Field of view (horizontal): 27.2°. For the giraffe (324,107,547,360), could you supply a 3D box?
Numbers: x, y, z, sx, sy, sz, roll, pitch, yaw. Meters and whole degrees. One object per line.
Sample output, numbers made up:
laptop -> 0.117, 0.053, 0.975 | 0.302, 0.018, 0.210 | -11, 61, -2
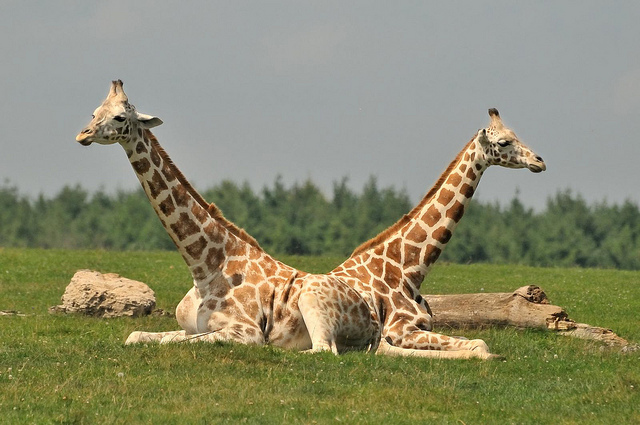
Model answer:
giraffe -> 4.246, 2.720, 58.748 | 12.144, 12.695, 4.029 | -7, 3, 16
